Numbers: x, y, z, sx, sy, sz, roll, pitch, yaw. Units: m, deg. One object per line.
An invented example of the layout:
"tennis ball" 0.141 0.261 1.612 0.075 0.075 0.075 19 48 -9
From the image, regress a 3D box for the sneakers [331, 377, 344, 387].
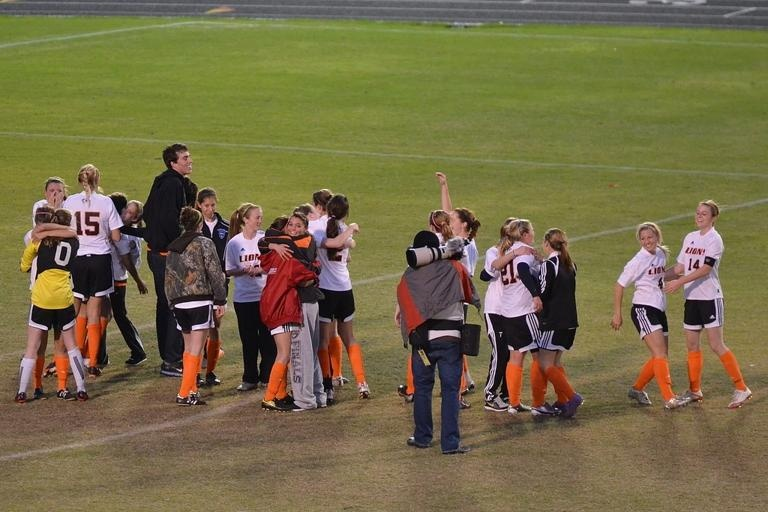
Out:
"sneakers" -0.933 2.525 28.857 0.204 0.159 0.180 1 -3 -2

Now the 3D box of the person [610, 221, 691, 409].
"person" 5.113 1.121 28.312 1.287 3.480 1.579 -3 12 8

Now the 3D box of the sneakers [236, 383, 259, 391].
"sneakers" -2.694 2.600 28.704 0.412 0.145 0.147 2 0 -18

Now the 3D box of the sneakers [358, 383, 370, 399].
"sneakers" -0.404 2.623 28.438 0.220 0.336 0.271 -5 11 -4

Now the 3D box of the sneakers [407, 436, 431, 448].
"sneakers" 0.626 3.484 26.925 0.377 0.135 0.191 10 15 30
